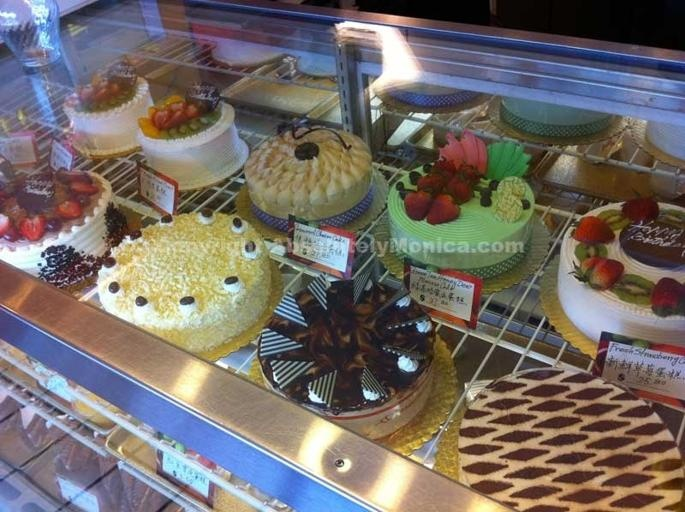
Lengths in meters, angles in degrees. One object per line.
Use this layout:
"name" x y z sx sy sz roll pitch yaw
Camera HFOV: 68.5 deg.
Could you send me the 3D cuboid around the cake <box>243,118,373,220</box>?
"cake" -0.125 -0.377 2.232 0.500 0.159 0.489 18 45 31
